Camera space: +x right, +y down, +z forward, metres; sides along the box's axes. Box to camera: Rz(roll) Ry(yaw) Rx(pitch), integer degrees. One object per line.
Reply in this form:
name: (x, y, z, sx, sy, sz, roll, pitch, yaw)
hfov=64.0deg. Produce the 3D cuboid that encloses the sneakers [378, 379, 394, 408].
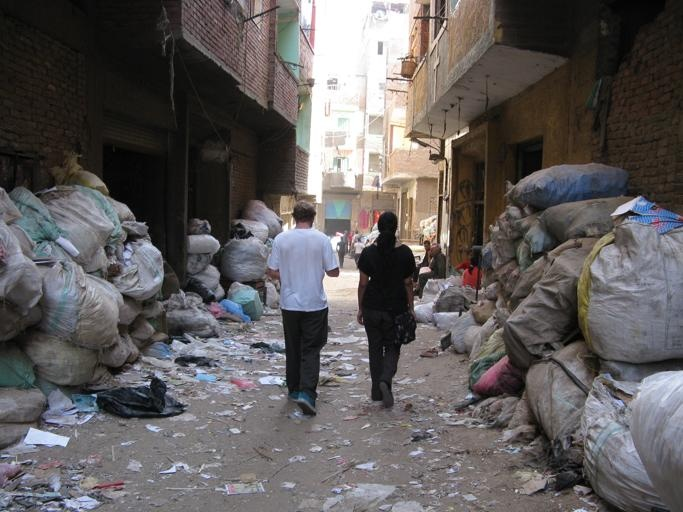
sneakers: (0.404, 1.277, 5.018, 0.103, 0.290, 0.119, -11, 1, 13)

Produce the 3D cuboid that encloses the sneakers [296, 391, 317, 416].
sneakers: (-0.296, 1.317, 4.851, 0.164, 0.216, 0.245, 2, 7, -5)

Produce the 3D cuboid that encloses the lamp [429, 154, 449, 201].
lamp: (2.516, -1.813, 14.223, 0.523, 1.675, 0.271, -4, 14, -15)

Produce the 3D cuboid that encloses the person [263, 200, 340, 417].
person: (-0.315, 0.462, 5.062, 0.565, 1.916, 0.762, -3, 9, -38)

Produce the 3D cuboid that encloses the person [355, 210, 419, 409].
person: (0.412, 0.501, 5.115, 0.567, 1.816, 0.514, 3, 7, 7)

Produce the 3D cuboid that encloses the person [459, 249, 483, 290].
person: (2.271, 0.259, 9.573, 0.277, 0.826, 0.371, 12, 35, 15)

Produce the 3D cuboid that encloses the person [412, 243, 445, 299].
person: (2.035, 0.296, 12.197, 0.615, 1.185, 0.507, 4, 21, 16)
